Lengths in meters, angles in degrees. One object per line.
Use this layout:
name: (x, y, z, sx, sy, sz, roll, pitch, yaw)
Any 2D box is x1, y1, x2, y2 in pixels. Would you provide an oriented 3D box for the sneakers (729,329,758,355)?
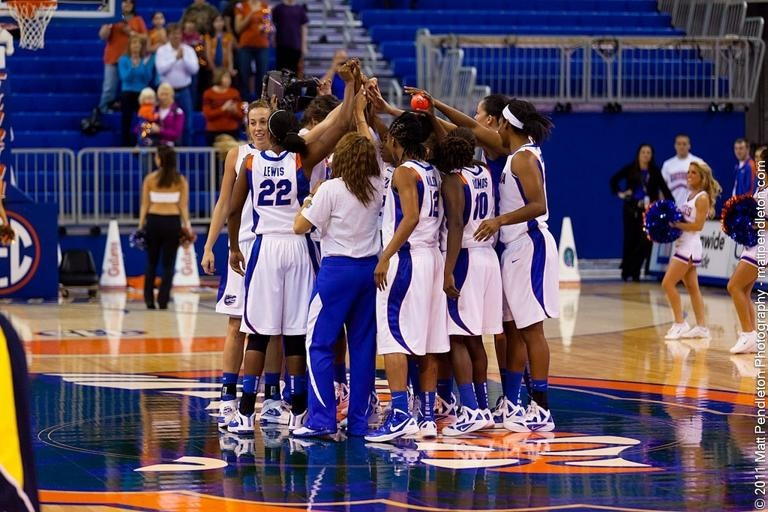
sneakers: (4.631, 1.108, 14.321, 0.442, 0.294, 0.174, -9, -1, -6)

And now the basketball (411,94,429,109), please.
basketball: (0.346, -1.553, 11.392, 0.145, 0.162, 0.159, -7, 45, -22)

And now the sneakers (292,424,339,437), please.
sneakers: (-0.705, 1.710, 11.250, 0.424, 0.201, 0.165, 3, -4, -3)

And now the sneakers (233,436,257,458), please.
sneakers: (-1.376, 1.865, 10.992, 0.134, 0.203, 0.111, -1, -5, 24)

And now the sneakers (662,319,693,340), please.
sneakers: (4.015, 1.016, 15.303, 0.482, 0.217, 0.170, -11, -30, -47)

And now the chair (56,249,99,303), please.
chair: (-5.128, 0.288, 18.623, 0.549, 0.901, 0.787, 0, 1, -20)

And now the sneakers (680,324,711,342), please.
sneakers: (4.263, 1.065, 15.353, 0.405, 0.207, 0.163, 0, -2, -10)

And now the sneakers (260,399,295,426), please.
sneakers: (-1.132, 1.638, 11.772, 0.351, 0.264, 0.181, 1, 1, -12)

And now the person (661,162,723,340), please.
person: (4.212, -0.093, 15.344, 0.738, 2.420, 0.495, 0, 0, 9)
